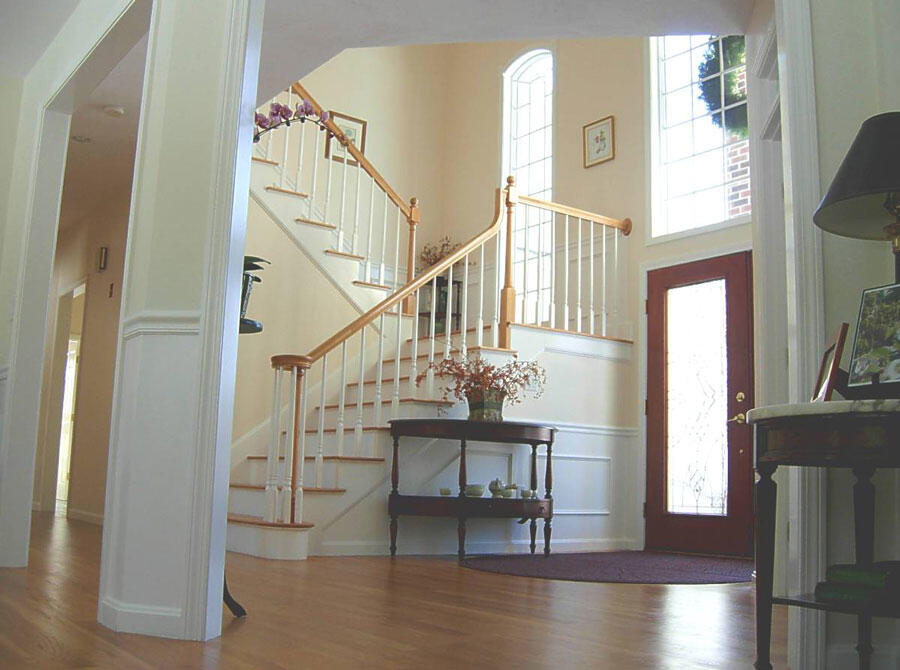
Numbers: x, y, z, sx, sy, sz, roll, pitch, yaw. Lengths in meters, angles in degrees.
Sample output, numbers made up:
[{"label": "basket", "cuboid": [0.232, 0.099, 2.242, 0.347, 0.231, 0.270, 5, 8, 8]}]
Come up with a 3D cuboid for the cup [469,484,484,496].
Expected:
[{"label": "cup", "cuboid": [0.183, 1.083, 5.084, 0.083, 0.054, 0.083, -1, -5, 0]}]

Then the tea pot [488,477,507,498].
[{"label": "tea pot", "cuboid": [0.343, 1.099, 5.209, 0.107, 0.134, 0.110, 2, 2, 0]}]

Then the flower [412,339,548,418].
[{"label": "flower", "cuboid": [0.275, 0.404, 5.574, 0.721, 0.582, 0.859, -7, -14, 39]}]

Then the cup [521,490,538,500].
[{"label": "cup", "cuboid": [0.580, 1.148, 5.242, 0.062, 0.050, 0.105, 4, -2, -27]}]

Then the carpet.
[{"label": "carpet", "cuboid": [1.114, 1.535, 4.820, 2.051, 0.029, 1.535, 6, -12, -24]}]

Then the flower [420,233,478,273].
[{"label": "flower", "cuboid": [-0.038, -0.970, 8.390, 0.623, 0.281, 0.484, 4, 7, 42]}]

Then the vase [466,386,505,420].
[{"label": "vase", "cuboid": [0.256, 0.501, 5.163, 0.235, 0.187, 0.216, 7, -11, -39]}]
